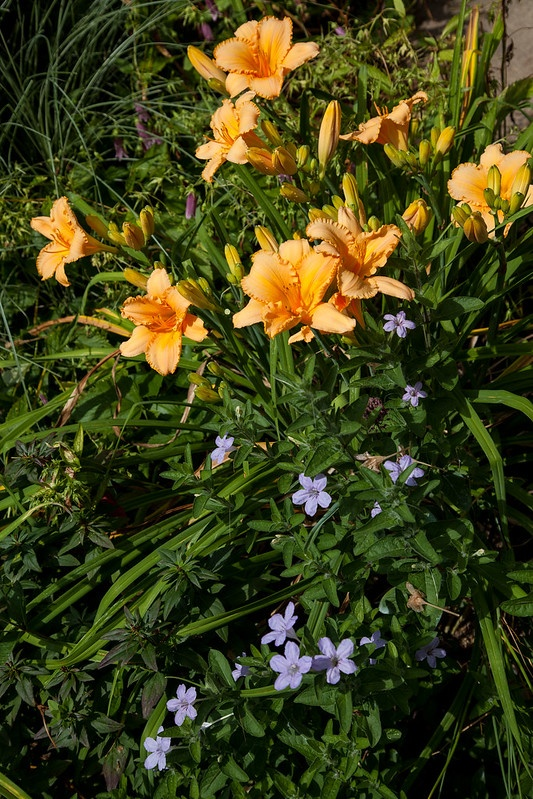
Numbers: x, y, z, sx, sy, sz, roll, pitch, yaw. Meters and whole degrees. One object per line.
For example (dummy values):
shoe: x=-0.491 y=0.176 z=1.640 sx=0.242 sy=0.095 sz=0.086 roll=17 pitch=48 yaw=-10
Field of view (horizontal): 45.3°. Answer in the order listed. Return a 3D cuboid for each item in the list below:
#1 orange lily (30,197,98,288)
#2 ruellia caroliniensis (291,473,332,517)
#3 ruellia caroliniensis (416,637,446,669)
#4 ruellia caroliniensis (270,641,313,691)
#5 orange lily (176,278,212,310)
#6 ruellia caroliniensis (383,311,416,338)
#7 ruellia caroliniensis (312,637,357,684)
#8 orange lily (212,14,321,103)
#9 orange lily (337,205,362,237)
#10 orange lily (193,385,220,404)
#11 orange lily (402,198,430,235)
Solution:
orange lily: x=-0.474 y=-0.362 z=1.505 sx=0.108 sy=0.197 sz=0.228 roll=-13 pitch=37 yaw=-30
ruellia caroliniensis: x=0.087 y=0.181 z=1.221 sx=0.083 sy=0.024 sz=0.081 roll=-18 pitch=72 yaw=29
ruellia caroliniensis: x=0.333 y=0.519 z=1.293 sx=0.061 sy=0.181 sz=0.042 roll=-35 pitch=63 yaw=-6
ruellia caroliniensis: x=0.039 y=0.454 z=1.083 sx=0.082 sy=0.025 sz=0.081 roll=-43 pitch=53 yaw=19
orange lily: x=-0.150 y=-0.216 z=1.317 sx=0.029 sy=0.098 sz=0.026 roll=-47 pitch=58 yaw=4
ruellia caroliniensis: x=0.259 y=-0.142 z=1.261 sx=0.055 sy=0.048 sz=0.067 roll=-14 pitch=62 yaw=3
ruellia caroliniensis: x=0.114 y=0.441 z=1.079 sx=0.072 sy=0.066 sz=0.069 roll=-2 pitch=64 yaw=9
orange lily: x=-0.008 y=-0.729 z=1.474 sx=0.248 sy=0.226 sz=0.196 roll=-19 pitch=29 yaw=-38
orange lily: x=0.158 y=-0.339 z=1.223 sx=0.022 sy=0.044 sz=0.066 roll=-33 pitch=83 yaw=17
orange lily: x=-0.128 y=-0.010 z=1.368 sx=0.024 sy=0.071 sz=0.023 roll=-30 pitch=69 yaw=8
orange lily: x=0.312 y=-0.382 z=1.326 sx=0.030 sy=0.064 sz=0.076 roll=-29 pitch=34 yaw=8
